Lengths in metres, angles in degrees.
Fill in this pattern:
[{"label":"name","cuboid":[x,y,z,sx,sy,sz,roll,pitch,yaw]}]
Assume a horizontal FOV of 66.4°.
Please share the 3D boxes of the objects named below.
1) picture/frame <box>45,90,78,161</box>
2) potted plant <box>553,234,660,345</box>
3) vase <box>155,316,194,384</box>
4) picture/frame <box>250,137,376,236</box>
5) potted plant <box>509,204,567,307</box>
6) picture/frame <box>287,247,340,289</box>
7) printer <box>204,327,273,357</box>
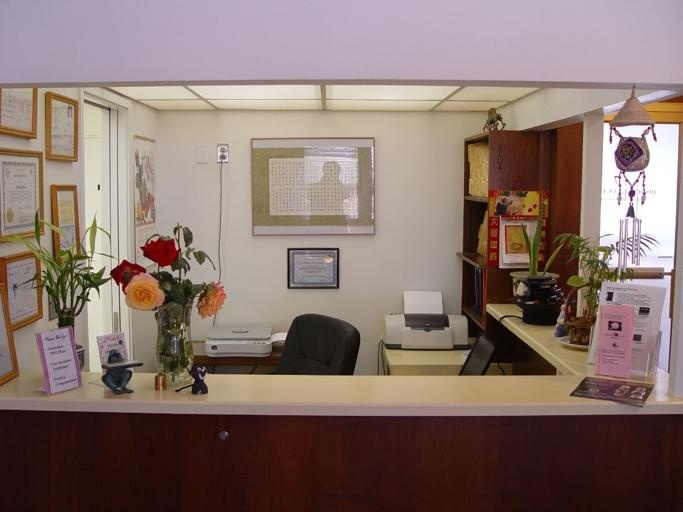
[{"label":"picture/frame","cuboid":[-1.452,-0.659,2.720,0.353,0.355,0.026,17,14,39]},{"label":"potted plant","cuboid":[1.295,0.167,2.662,0.331,0.542,0.450,7,2,-6]},{"label":"vase","cuboid":[-0.689,0.383,2.136,0.143,0.282,0.139,-7,15,-21]},{"label":"picture/frame","cuboid":[-0.238,-0.614,4.333,0.719,0.578,0.015,-1,4,1]},{"label":"potted plant","cuboid":[1.191,0.024,3.097,0.319,0.551,0.258,6,4,41]},{"label":"picture/frame","cuboid":[-0.233,0.085,4.386,0.305,0.260,0.015,1,3,-2]},{"label":"printer","cuboid":[-0.810,0.682,4.248,0.518,0.192,0.341,-1,14,5]}]
